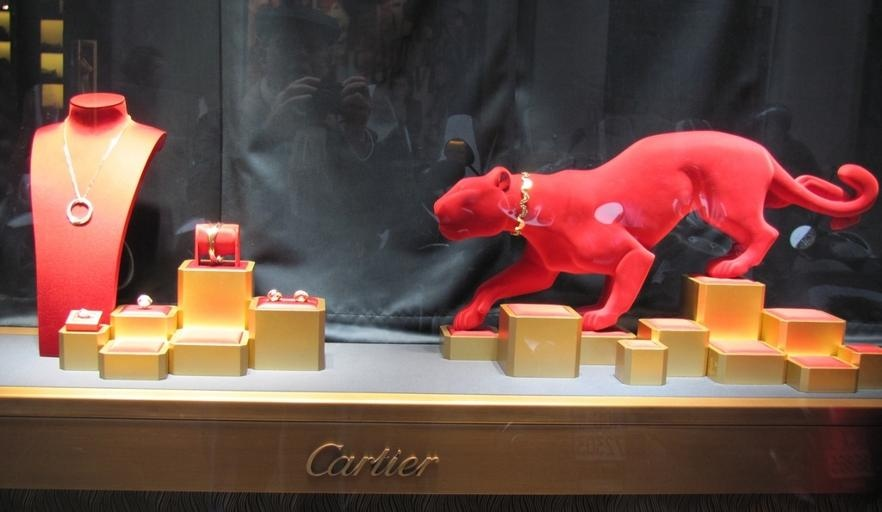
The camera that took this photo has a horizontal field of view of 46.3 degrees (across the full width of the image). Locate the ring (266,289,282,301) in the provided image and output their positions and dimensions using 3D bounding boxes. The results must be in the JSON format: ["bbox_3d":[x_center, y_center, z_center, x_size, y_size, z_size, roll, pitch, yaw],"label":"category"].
[{"bbox_3d":[-0.570,0.136,3.477,0.047,0.035,0.037,-22,6,21],"label":"ring"}]

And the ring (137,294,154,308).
[{"bbox_3d":[-0.983,0.149,3.429,0.046,0.038,0.049,3,9,0],"label":"ring"}]

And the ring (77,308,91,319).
[{"bbox_3d":[-1.166,0.190,3.374,0.037,0.028,0.021,2,9,-4],"label":"ring"}]

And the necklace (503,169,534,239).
[{"bbox_3d":[0.276,-0.178,3.465,0.043,0.156,0.120,4,30,-8],"label":"necklace"}]

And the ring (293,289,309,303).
[{"bbox_3d":[-0.470,0.134,3.477,0.038,0.037,0.047,-6,-14,-5],"label":"ring"}]
